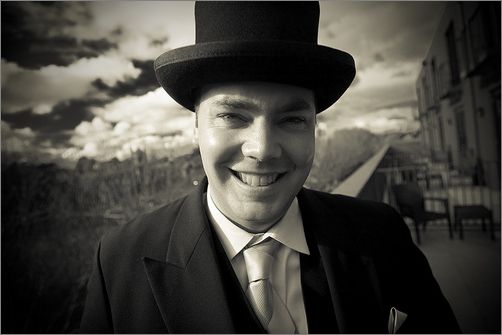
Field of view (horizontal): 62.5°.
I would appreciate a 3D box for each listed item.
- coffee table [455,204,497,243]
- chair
[{"bbox_3d":[4.618,1.188,8.570,0.657,0.764,0.676,-2,-1,29],"label":"coffee table"},{"bbox_3d":[3.606,0.983,8.772,0.822,1.243,0.917,-8,3,-26],"label":"chair"}]
